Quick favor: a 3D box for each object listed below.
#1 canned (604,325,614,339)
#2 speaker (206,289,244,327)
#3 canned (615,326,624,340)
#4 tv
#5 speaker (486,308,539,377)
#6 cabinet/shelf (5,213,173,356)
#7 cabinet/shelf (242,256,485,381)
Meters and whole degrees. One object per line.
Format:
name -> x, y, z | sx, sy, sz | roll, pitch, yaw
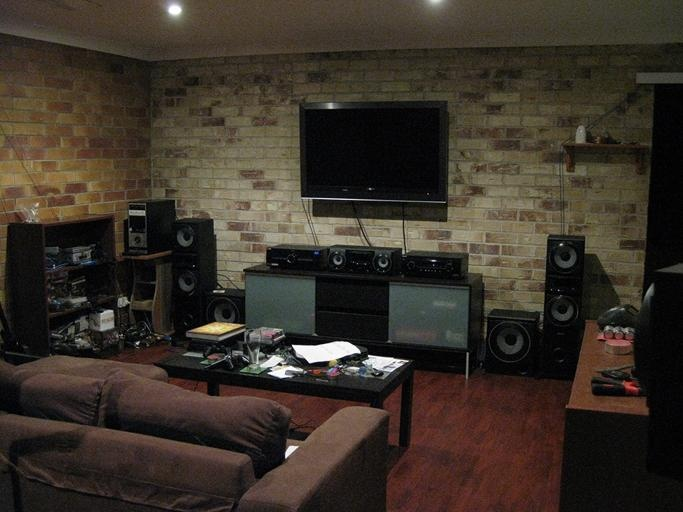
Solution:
canned -> 1.571, 0.449, 3.136 | 0.065, 0.063, 0.062 | -5, 20, 21
speaker -> -1.140, 0.496, 5.361 | 0.398, 0.336, 0.317 | 1, 4, 15
canned -> 1.617, 0.451, 3.086 | 0.048, 0.058, 0.061 | 1, 4, 7
tv -> 0.368, -1.013, 5.107 | 1.115, 0.685, 0.108 | 2, 7, 17
speaker -> 1.513, 0.781, 4.709 | 0.567, 0.636, 0.361 | 4, 7, 21
cabinet/shelf -> -2.362, 0.279, 4.914 | 0.545, 0.958, 1.329 | 2, 9, 11
cabinet/shelf -> 0.214, 0.572, 5.280 | 2.317, 0.798, 0.640 | 2, 7, 27
